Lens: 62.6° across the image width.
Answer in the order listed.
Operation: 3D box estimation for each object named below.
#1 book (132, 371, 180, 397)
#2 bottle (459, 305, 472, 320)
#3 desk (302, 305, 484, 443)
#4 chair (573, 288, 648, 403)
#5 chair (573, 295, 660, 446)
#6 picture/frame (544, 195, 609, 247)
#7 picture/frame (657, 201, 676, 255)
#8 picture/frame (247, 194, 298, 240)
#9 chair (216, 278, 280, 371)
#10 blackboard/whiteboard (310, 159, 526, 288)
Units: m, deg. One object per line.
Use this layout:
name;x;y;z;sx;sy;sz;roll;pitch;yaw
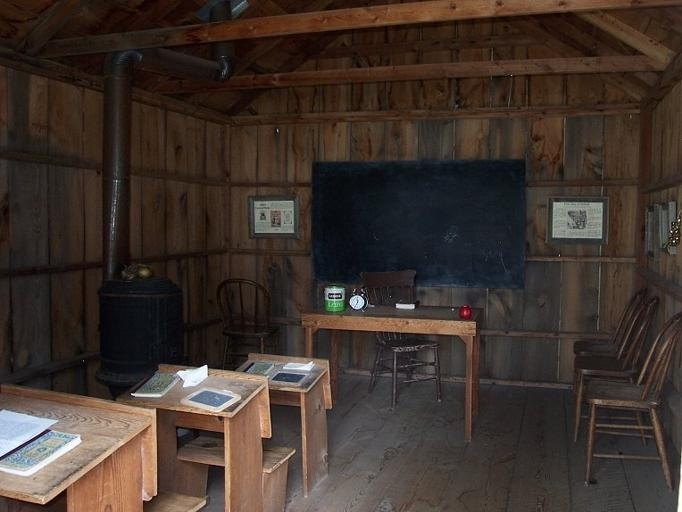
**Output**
book;-1.068;0.749;3.278;0.164;0.053;0.237;-3;4;5
bottle;1.033;0.467;4.664;0.102;0.107;0.108;1;2;14
desk;0.470;0.998;5.080;1.473;1.019;0.845;1;3;17
chair;2.230;0.784;4.684;0.631;0.989;0.575;4;21;36
chair;2.209;0.790;4.597;0.634;1.147;0.612;2;14;27
picture/frame;2.315;-0.348;5.460;0.446;0.423;0.054;1;3;13
picture/frame;2.485;-0.218;4.286;0.055;0.447;0.365;0;7;17
picture/frame;-0.719;-0.439;6.166;0.453;0.403;0.039;0;4;10
chair;-0.986;0.820;5.963;0.585;1.223;0.586;-1;6;8
blackboard/whiteboard;0.765;-0.339;5.788;2.160;1.267;0.160;1;8;14
